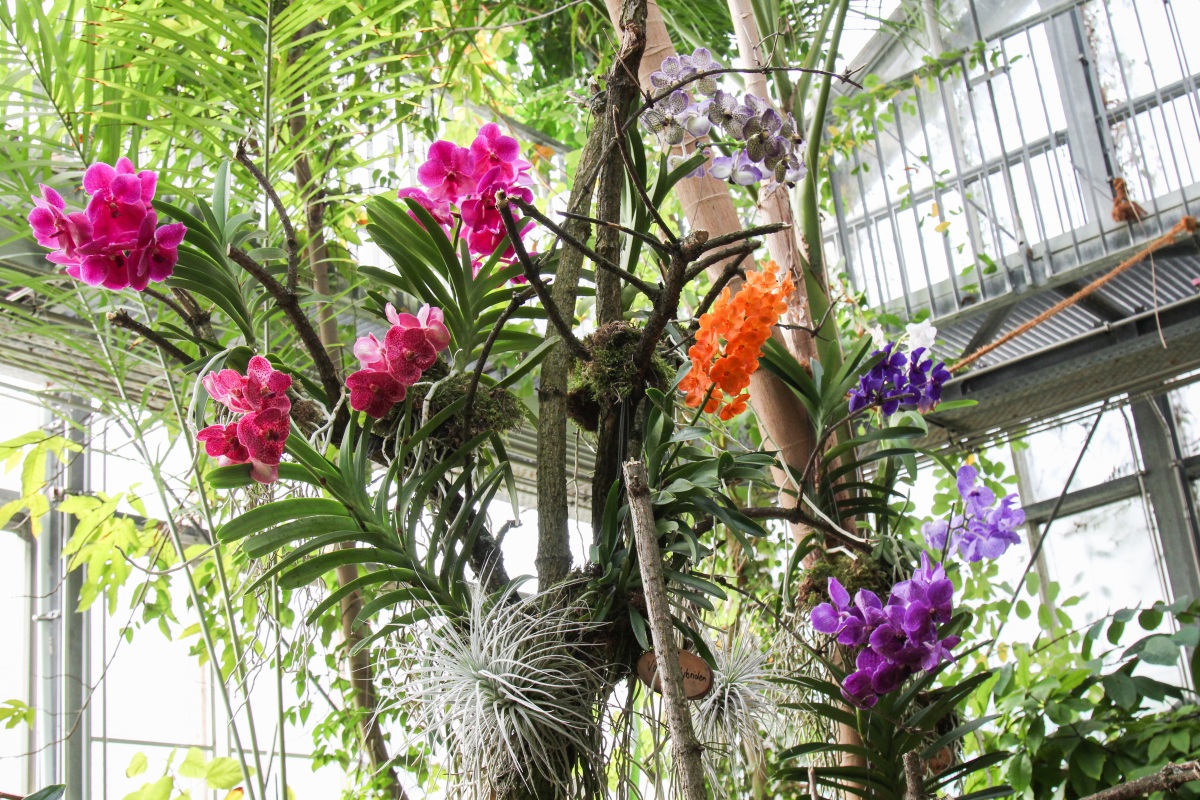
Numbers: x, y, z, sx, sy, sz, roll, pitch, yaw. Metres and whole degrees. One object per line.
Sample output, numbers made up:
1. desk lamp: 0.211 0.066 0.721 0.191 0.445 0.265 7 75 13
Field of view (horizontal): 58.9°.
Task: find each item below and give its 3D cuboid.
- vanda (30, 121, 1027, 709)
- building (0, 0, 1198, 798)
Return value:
1. vanda: -0.223 -0.009 2.170 1.242 1.204 0.756 -1 -7 -6
2. building: -0.145 0.123 2.198 1.412 1.525 1.196 3 -17 -6
